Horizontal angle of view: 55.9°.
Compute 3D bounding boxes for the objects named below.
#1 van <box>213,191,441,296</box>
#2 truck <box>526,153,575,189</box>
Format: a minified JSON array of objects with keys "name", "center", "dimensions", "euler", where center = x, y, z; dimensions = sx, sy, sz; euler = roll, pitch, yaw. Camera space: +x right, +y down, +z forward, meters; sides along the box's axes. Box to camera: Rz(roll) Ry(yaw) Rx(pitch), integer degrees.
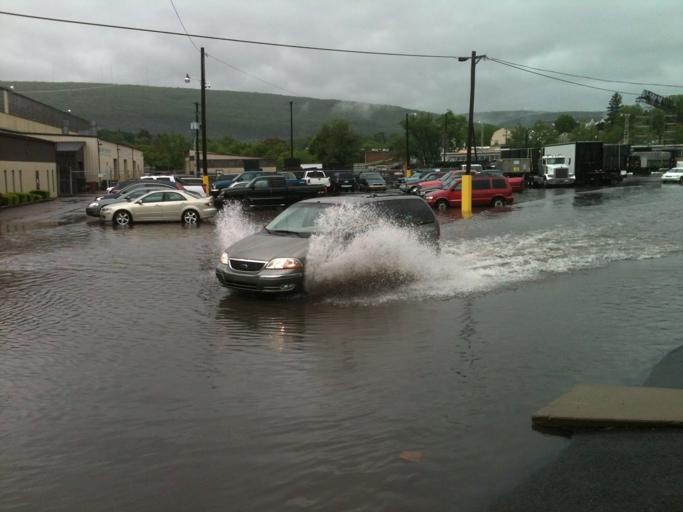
[{"name":"van","center":[-0.227,-0.476,13.018],"dimensions":[4.363,1.519,2.066],"euler":[-5,8,-40]},{"name":"truck","center":[17.632,-7.083,53.827],"dimensions":[2.471,2.731,4.736],"euler":[-2,10,-4]}]
